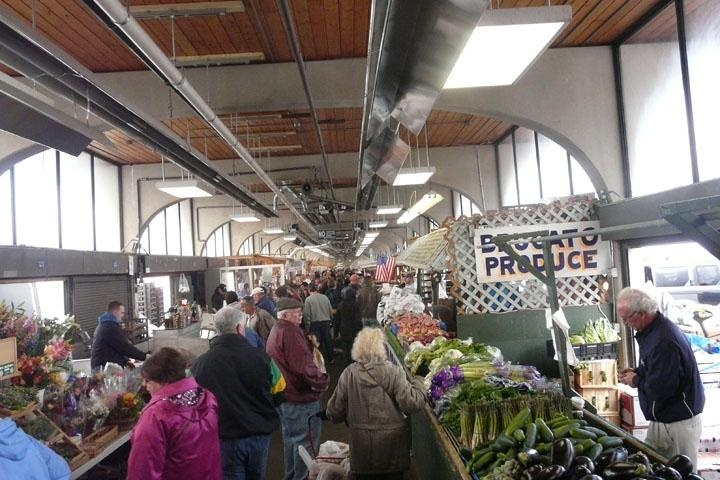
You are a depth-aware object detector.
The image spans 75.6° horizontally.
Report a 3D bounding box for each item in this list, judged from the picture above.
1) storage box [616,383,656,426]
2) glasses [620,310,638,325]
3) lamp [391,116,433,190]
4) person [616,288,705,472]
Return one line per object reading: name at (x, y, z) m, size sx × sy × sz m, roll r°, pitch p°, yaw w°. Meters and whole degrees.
storage box at (3.589, 2.218, 6.059) m, size 0.297 × 0.373 × 0.398 m, roll 0°, pitch -13°, yaw 5°
glasses at (2.729, 0.786, 4.719) m, size 0.112 × 0.159 × 0.153 m, roll 6°, pitch -13°, yaw 12°
lamp at (1.145, -1.448, 9.088) m, size 0.984 × 2.170 × 0.986 m, roll 2°, pitch 0°, yaw 2°
person at (3.145, 1.734, 4.803) m, size 0.682 × 2.317 × 0.704 m, roll -8°, pitch 8°, yaw -17°
